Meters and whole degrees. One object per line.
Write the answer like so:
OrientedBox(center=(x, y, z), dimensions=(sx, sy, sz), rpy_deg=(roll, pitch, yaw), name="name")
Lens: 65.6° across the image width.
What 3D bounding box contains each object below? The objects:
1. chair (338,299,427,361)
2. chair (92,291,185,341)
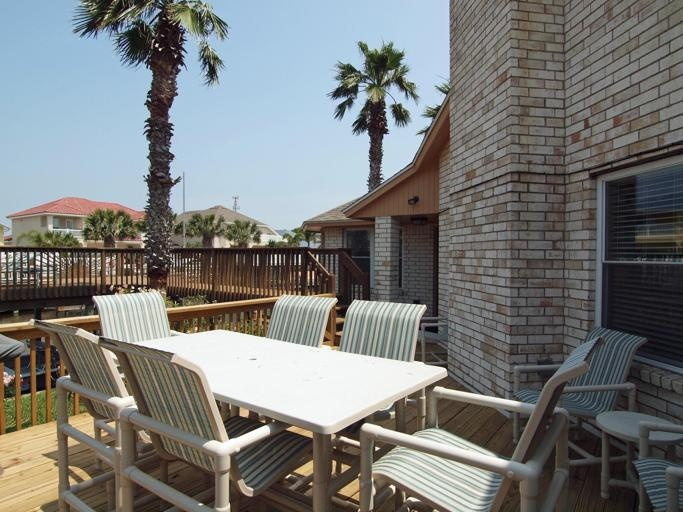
OrientedBox(center=(0.447, 0.680, 5.437), dimensions=(0.671, 0.930, 0.622), rpy_deg=(0, 0, 33), name="chair")
OrientedBox(center=(-2.214, 0.644, 5.747), dimensions=(0.634, 0.830, 0.638), rpy_deg=(-4, 2, -43), name="chair")
